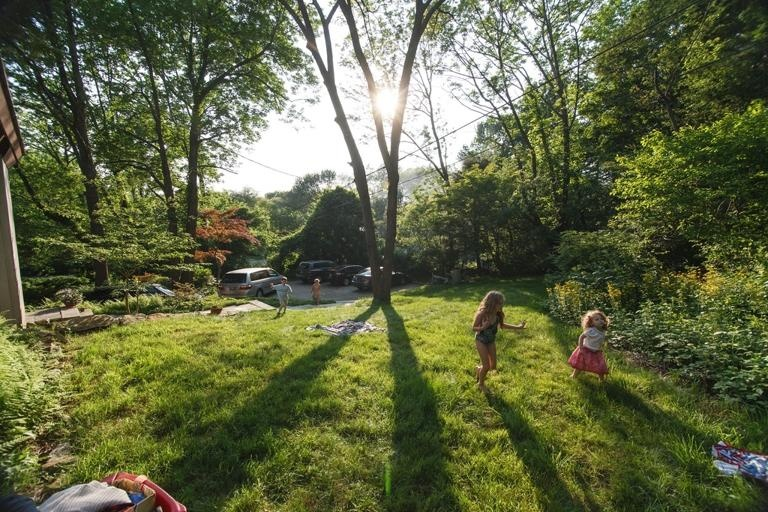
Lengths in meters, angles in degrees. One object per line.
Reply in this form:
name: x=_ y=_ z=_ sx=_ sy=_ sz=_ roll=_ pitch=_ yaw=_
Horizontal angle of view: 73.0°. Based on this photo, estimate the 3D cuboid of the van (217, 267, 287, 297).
van: x=-6.199 y=1.293 z=25.248 sx=1.667 sy=1.206 sz=3.757 roll=0 pitch=6 yaw=10

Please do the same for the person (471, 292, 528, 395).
person: x=2.868 y=2.213 z=13.971 sx=0.997 sy=2.525 sz=0.720 roll=-9 pitch=14 yaw=-39

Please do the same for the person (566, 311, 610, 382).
person: x=5.633 y=2.427 z=14.121 sx=0.974 sy=1.835 sz=0.473 roll=4 pitch=12 yaw=19
